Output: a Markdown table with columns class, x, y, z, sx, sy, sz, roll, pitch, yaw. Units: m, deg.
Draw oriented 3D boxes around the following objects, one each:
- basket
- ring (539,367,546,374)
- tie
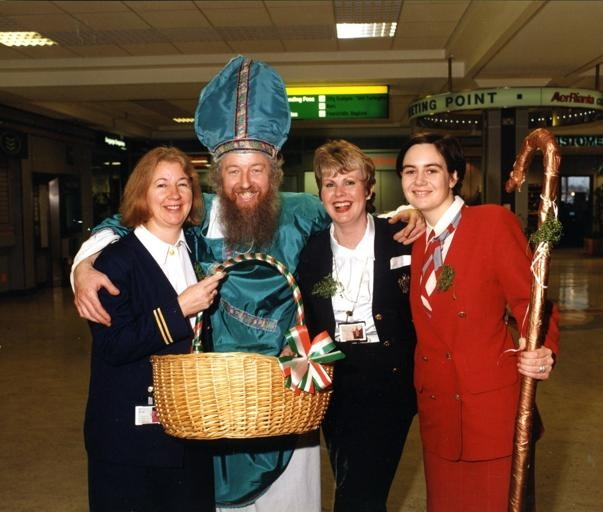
| class | x | y | z | sx | sy | sz | roll | pitch | yaw |
| --- | --- | --- | --- | --- | --- | --- | --- | --- | --- |
| basket | -0.230 | 0.400 | 2.072 | 0.553 | 0.565 | 0.400 | 0 | -3 | -16 |
| ring | 0.835 | 0.395 | 1.952 | 0.024 | 0.025 | 0.006 | 0 | -5 | 16 |
| tie | 0.548 | 0.023 | 2.288 | 0.087 | 0.387 | 0.217 | 3 | -13 | 41 |
